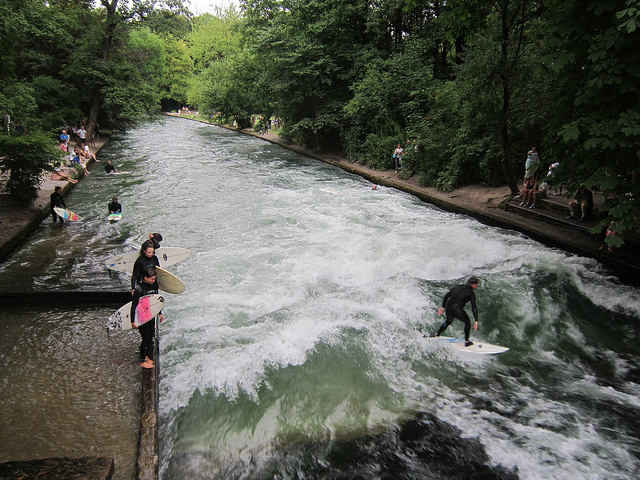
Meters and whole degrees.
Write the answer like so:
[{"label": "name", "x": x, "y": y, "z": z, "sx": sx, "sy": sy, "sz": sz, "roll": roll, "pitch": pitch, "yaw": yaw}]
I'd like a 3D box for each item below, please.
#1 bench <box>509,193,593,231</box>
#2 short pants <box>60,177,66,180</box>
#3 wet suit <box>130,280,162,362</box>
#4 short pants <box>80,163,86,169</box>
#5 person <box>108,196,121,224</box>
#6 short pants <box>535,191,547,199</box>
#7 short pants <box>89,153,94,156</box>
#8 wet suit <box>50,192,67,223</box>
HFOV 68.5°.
[{"label": "bench", "x": 8.324, "y": -1.171, "z": 16.785, "sx": 1.441, "sy": 0.714, "sz": 3.234, "roll": 7, "pitch": 15, "yaw": -14}, {"label": "short pants", "x": -11.955, "y": -2.878, "z": 21.991, "sx": 0.206, "sy": 0.102, "sz": 0.037, "roll": 0, "pitch": 18, "yaw": -36}, {"label": "wet suit", "x": -3.871, "y": 1.766, "z": 10.532, "sx": 0.513, "sy": 2.127, "sz": 0.845, "roll": 3, "pitch": 4, "yaw": 25}, {"label": "short pants", "x": -12.420, "y": -3.919, "z": 24.841, "sx": 0.358, "sy": 0.108, "sz": 0.354, "roll": -2, "pitch": 57, "yaw": -44}, {"label": "person", "x": -7.757, "y": -1.194, "z": 17.936, "sx": 0.407, "sy": 0.988, "sz": 0.923, "roll": 5, "pitch": 15, "yaw": -23}, {"label": "short pants", "x": 8.252, "y": -1.639, "z": 17.603, "sx": 0.335, "sy": 0.140, "sz": 0.246, "roll": 20, "pitch": -5, "yaw": 6}, {"label": "short pants", "x": -13.537, "y": -5.118, "z": 28.045, "sx": 0.285, "sy": 0.085, "sz": 0.274, "roll": 6, "pitch": 3, "yaw": 16}, {"label": "wet suit", "x": -9.616, "y": -1.212, "z": 17.380, "sx": 0.420, "sy": 1.153, "sz": 0.619, "roll": 5, "pitch": 15, "yaw": -21}]
